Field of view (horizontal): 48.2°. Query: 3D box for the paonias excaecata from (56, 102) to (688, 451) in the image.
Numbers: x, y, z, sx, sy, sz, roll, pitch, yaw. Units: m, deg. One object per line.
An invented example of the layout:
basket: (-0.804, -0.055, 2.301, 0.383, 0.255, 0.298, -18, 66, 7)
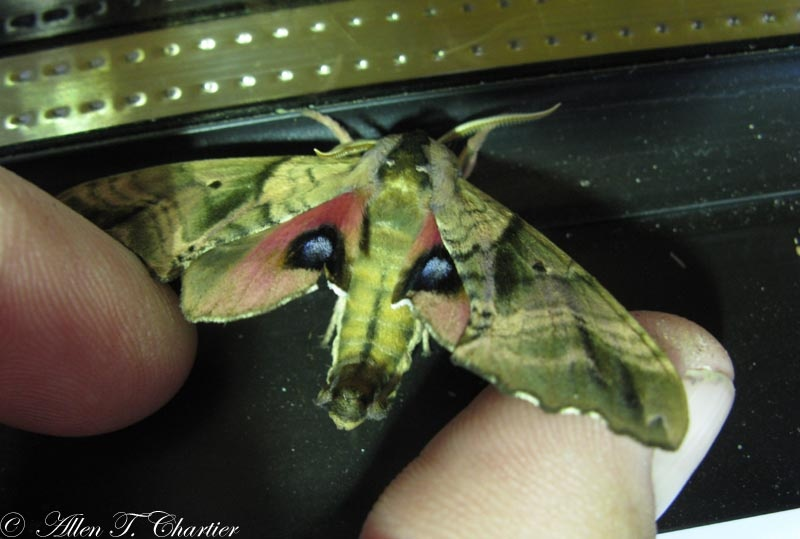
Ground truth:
paonias excaecata: (-0.012, 0.015, 1.242, 0.846, 0.279, 0.436, 18, 56, 16)
